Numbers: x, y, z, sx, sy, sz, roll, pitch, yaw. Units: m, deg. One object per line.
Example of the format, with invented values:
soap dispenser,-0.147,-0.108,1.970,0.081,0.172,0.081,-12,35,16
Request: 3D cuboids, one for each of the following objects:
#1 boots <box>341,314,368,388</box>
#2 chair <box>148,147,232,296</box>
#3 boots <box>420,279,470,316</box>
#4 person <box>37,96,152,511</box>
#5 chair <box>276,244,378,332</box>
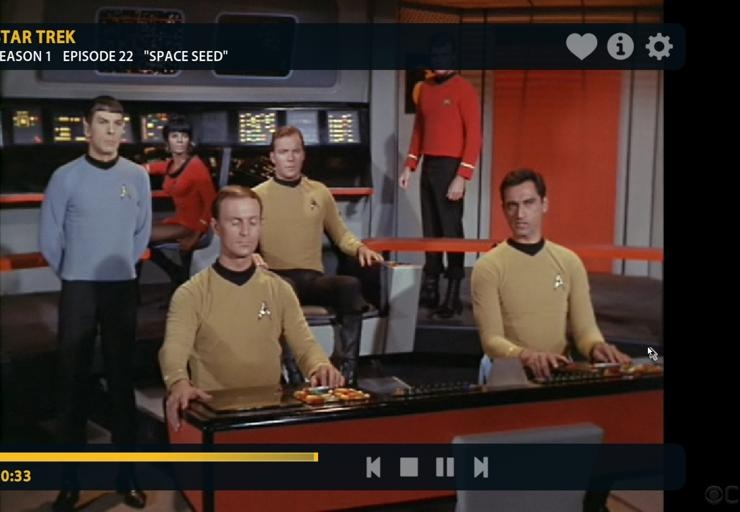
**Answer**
boots,-0.059,0.301,2.151,0.073,0.229,0.050,9,9,28
chair,-0.572,-0.123,1.969,0.317,0.463,0.173,1,10,14
boots,0.230,0.119,2.152,0.128,0.118,0.118,2,1,-11
person,-0.731,0.048,1.867,0.285,0.935,0.153,-3,9,-21
chair,-0.126,0.095,2.144,0.274,0.255,0.217,-1,2,-10
